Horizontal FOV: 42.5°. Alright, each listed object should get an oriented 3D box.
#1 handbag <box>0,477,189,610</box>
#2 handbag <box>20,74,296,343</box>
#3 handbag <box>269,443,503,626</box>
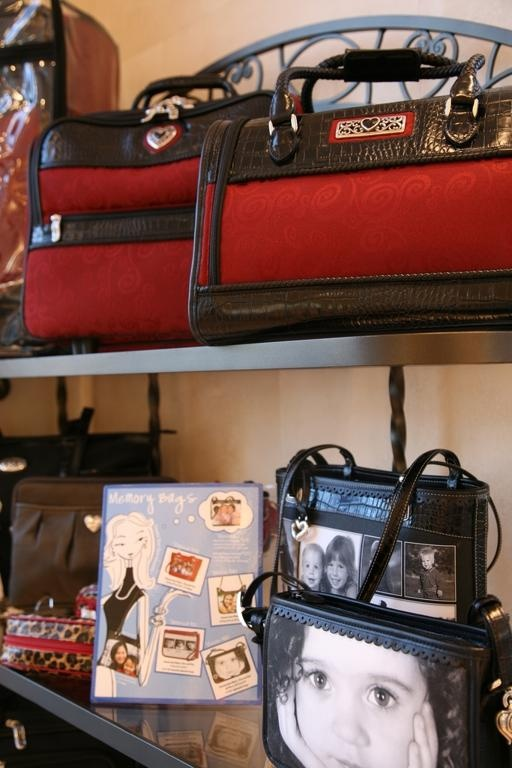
[{"bbox_3d":[-0.202,0.206,0.833,0.165,0.154,0.067,0,-10,3],"label":"handbag"},{"bbox_3d":[-0.111,-0.216,0.892,0.356,0.428,0.225,-1,-8,12],"label":"handbag"},{"bbox_3d":[0.124,0.162,0.696,0.215,0.209,0.149,3,10,30],"label":"handbag"}]
